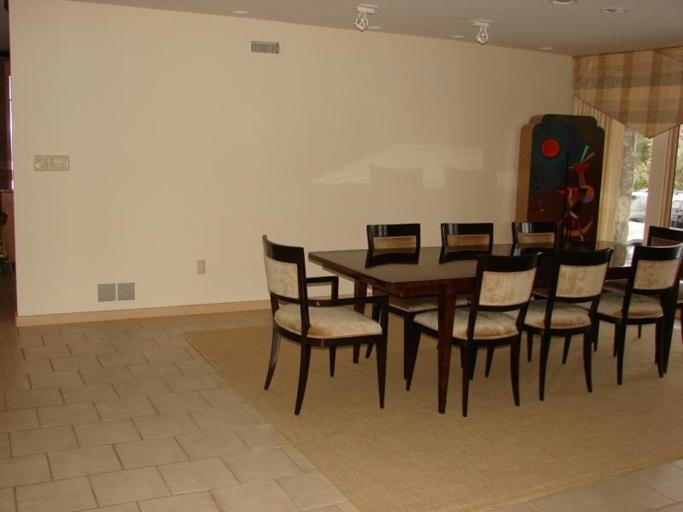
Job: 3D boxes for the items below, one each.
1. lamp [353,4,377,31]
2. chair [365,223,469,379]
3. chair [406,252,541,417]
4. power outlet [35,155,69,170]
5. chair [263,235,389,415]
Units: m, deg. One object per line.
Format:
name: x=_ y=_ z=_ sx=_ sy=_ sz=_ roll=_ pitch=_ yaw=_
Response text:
lamp: x=0.222 y=-2.138 z=4.815 sx=0.195 sy=0.226 sz=0.523 roll=2 pitch=12 yaw=2
chair: x=0.517 y=0.231 z=4.197 sx=0.645 sy=0.983 sz=0.706 roll=-1 pitch=1 yaw=-21
chair: x=0.891 y=0.473 z=3.603 sx=0.711 sy=1.064 sz=0.526 roll=-2 pitch=13 yaw=-17
power outlet: x=-2.605 y=-0.832 z=4.743 sx=0.282 sy=0.144 sz=0.033 roll=-3 pitch=14 yaw=-24
chair: x=-0.104 y=0.429 z=3.574 sx=0.736 sy=1.090 sz=0.727 roll=-5 pitch=14 yaw=-28
